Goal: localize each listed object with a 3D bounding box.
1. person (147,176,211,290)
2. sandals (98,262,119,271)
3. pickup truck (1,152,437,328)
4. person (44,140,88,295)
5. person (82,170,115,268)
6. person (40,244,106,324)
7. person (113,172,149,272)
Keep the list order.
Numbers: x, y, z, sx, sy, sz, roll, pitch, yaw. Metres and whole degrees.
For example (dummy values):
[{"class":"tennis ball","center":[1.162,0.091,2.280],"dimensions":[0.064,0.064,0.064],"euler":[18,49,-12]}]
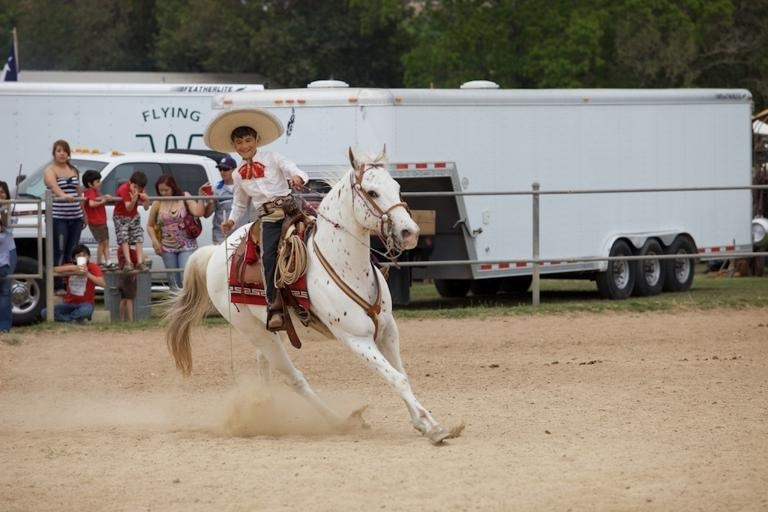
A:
[{"class":"person","center":[-4.641,-0.235,37.055],"dimensions":[1.440,3.325,0.949],"euler":[2,20,7]},{"class":"sandals","center":[-6.251,0.248,36.578],"dimensions":[0.435,0.185,0.169],"euler":[-1,3,10]},{"class":"pickup truck","center":[-6.439,-0.728,37.691],"dimensions":[10.600,4.359,3.926],"euler":[1,-3,-25]},{"class":"person","center":[-7.264,-1.105,36.617],"dimensions":[0.812,2.927,0.868],"euler":[0,0,-43]},{"class":"person","center":[-6.540,-0.849,36.858],"dimensions":[0.703,2.255,0.637],"euler":[0,1,-3]},{"class":"person","center":[-6.911,0.642,36.442],"dimensions":[1.144,1.765,0.702],"euler":[-3,5,-9]},{"class":"person","center":[-5.778,-0.840,36.602],"dimensions":[0.682,2.445,0.600],"euler":[2,-3,-6]}]
